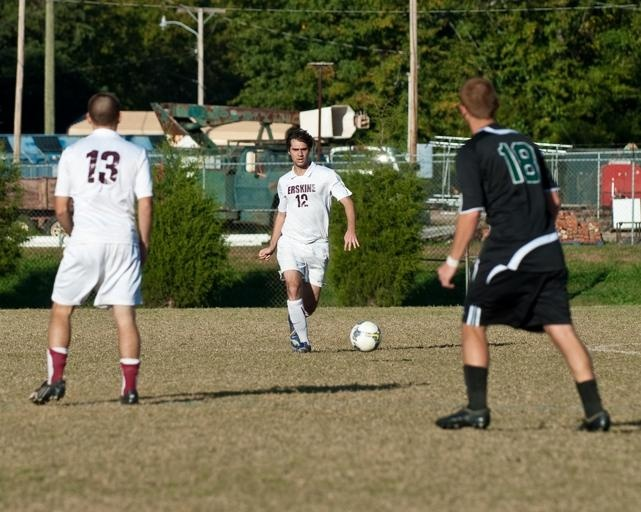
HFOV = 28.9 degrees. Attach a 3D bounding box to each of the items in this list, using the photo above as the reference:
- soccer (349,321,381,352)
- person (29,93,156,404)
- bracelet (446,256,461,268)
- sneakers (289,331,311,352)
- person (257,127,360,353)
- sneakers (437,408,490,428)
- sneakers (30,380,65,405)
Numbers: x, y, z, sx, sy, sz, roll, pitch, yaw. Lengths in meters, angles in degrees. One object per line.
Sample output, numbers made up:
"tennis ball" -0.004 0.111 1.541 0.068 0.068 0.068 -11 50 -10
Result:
"soccer" 0.584 0.974 15.320 0.336 0.357 0.352 -20 4 25
"person" -2.280 -0.046 12.742 1.117 3.104 0.956 -1 13 -5
"bracelet" 1.298 0.057 12.102 0.104 0.082 0.106 -3 13 -33
"sneakers" -0.269 1.070 15.195 0.135 0.169 0.364 1 0 -33
"person" -0.191 -0.155 15.235 1.090 2.739 0.858 -1 13 -4
"sneakers" 1.401 1.578 12.185 0.535 0.242 0.194 2 -2 0
"sneakers" -2.777 1.403 12.709 0.355 0.170 0.203 -11 13 16
